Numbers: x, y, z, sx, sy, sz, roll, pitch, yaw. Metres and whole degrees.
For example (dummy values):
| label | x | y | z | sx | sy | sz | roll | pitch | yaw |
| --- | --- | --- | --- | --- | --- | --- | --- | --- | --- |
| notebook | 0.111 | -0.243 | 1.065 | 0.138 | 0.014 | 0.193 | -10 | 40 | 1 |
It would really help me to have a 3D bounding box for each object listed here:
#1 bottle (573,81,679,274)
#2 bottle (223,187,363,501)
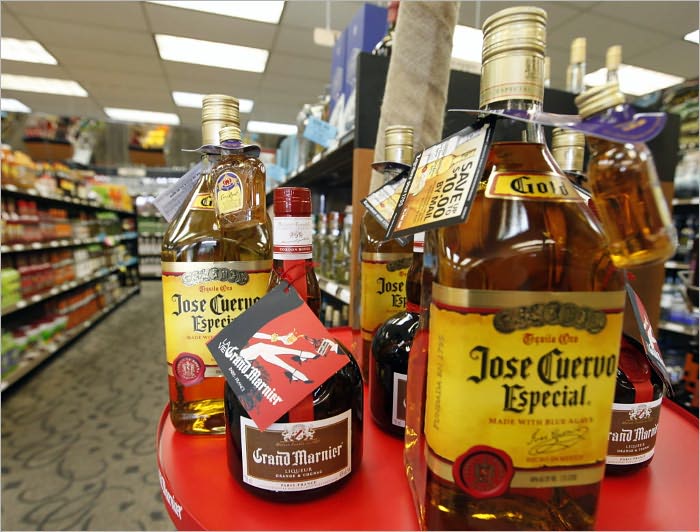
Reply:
| label | x | y | z | sx | sy | sz | roll | pitch | yaw |
| --- | --- | --- | --- | --- | --- | --- | --- | --- | --- |
| bottle | 0.448 | -0.142 | 0.882 | 0.168 | 0.301 | 0.060 | 7 | 14 | 26 |
| bottle | -0.099 | 0.142 | 1.057 | 0.261 | 0.575 | 0.221 | 5 | 13 | 17 |
